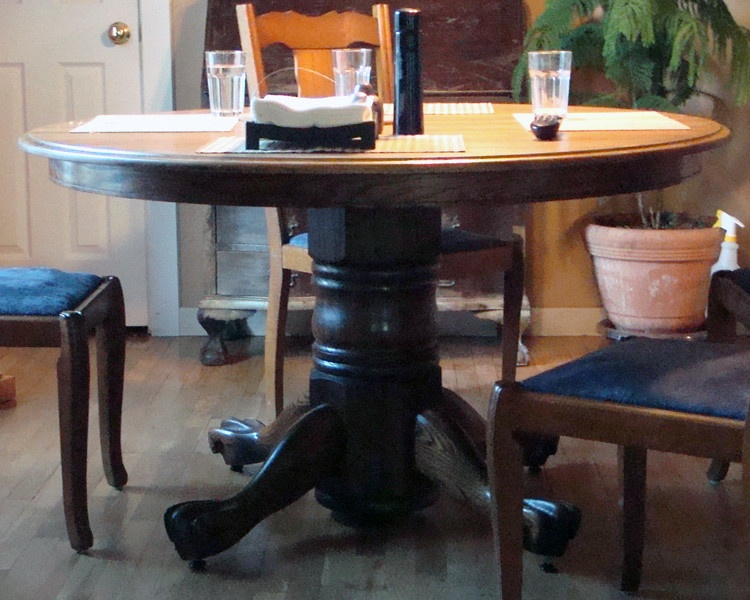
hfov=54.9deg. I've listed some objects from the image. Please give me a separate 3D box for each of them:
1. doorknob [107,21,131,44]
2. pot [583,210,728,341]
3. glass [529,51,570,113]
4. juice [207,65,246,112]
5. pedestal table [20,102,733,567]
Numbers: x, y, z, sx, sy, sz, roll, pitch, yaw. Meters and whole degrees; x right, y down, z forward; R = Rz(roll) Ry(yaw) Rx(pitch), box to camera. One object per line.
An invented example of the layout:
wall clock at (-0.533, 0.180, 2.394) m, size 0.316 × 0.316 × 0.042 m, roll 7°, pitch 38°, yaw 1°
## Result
doorknob at (-0.975, -1.009, 2.744) m, size 0.080 × 0.077 × 0.027 m, roll 2°, pitch -8°, yaw 0°
pot at (1.054, -0.071, 2.719) m, size 0.534 × 0.329 × 0.496 m, roll 0°, pitch -2°, yaw 0°
glass at (0.343, -0.403, 1.417) m, size 0.073 × 0.133 × 0.176 m, roll 0°, pitch -7°, yaw 12°
juice at (-0.317, -0.460, 1.588) m, size 0.115 × 0.108 × 0.106 m, roll -1°, pitch 12°, yaw -2°
pedestal table at (0.028, 0.053, 1.607) m, size 1.203 × 0.635 × 1.104 m, roll 0°, pitch 9°, yaw -1°
